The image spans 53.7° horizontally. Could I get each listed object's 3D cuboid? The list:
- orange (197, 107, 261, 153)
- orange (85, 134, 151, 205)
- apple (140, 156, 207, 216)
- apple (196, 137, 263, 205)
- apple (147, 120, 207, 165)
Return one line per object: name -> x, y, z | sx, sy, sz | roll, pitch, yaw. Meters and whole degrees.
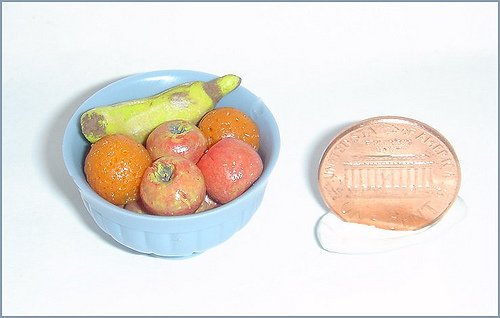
orange -> -0.101, -0.159, 2.404 | 0.230, 0.219, 0.228 | 9, -73, 2
orange -> -0.583, 0.012, 2.339 | 0.333, 0.326, 0.253 | 7, -75, 51
apple -> -0.331, 0.118, 2.192 | 0.258, 0.253, 0.256 | -7, -31, -2
apple -> -0.076, 0.038, 2.377 | 0.277, 0.296, 0.285 | -3, -78, 33
apple -> -0.347, -0.090, 2.294 | 0.216, 0.213, 0.201 | 4, -81, 4
